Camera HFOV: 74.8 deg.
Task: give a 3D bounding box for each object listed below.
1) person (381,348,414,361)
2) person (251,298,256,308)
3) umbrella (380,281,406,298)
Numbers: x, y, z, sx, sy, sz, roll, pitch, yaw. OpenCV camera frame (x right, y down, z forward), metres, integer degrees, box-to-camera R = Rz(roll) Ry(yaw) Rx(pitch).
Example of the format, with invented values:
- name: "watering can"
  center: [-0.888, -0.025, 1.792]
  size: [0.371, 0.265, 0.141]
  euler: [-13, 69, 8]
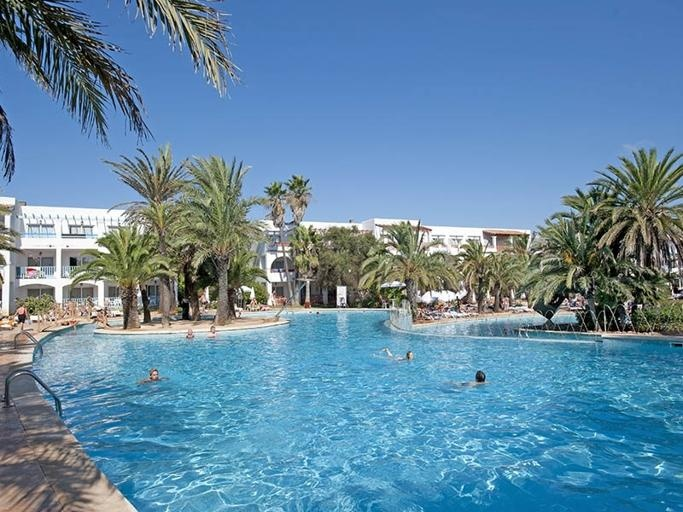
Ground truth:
- name: "person"
  center: [2.114, 3.671, 16.313]
  size: [0.834, 0.332, 0.616]
  euler: [-5, -4, 33]
- name: "person"
  center: [-8.225, 4.297, 41.543]
  size: [0.393, 0.887, 0.992]
  euler: [0, -6, -14]
- name: "umbrella"
  center: [4.941, 3.048, 42.397]
  size: [2.287, 1.621, 2.354]
  euler: [1, -3, -4]
